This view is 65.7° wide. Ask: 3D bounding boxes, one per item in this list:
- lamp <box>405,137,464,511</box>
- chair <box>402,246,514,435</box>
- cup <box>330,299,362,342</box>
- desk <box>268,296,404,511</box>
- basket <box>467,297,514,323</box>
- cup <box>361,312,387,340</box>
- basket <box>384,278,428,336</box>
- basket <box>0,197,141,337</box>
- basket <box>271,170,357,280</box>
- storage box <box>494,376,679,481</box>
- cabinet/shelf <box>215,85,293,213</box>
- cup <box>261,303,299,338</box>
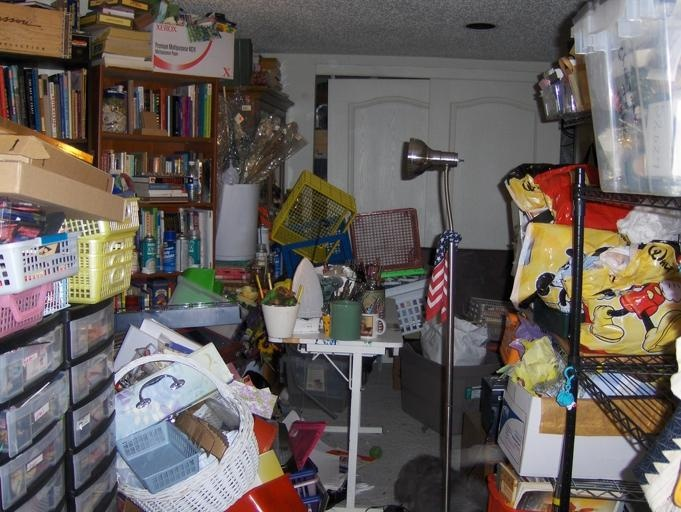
[{"bbox_3d":[0.490,0.278,2.758,0.272,1.750,1.240,-1,8,10],"label":"lamp"},{"bbox_3d":[0.772,0.468,3.743,0.827,1.333,0.408,7,-7,3],"label":"chair"},{"bbox_3d":[0.021,0.289,2.418,0.152,0.178,0.155,1,8,0],"label":"cup"},{"bbox_3d":[0.077,0.700,2.969,0.771,0.898,1.304,1,9,19],"label":"desk"},{"bbox_3d":[1.089,0.404,3.855,0.309,0.126,0.317,5,8,32],"label":"basket"},{"bbox_3d":[0.157,0.335,2.421,0.124,0.094,0.083,2,1,7],"label":"cup"},{"bbox_3d":[0.450,0.348,3.592,0.360,0.409,0.252,-3,-1,7],"label":"basket"},{"bbox_3d":[-0.691,0.044,1.385,0.181,0.145,0.293,4,13,20],"label":"basket"},{"bbox_3d":[-0.188,-0.255,3.810,0.607,0.709,0.257,-7,9,-30],"label":"basket"},{"bbox_3d":[0.946,0.701,2.088,0.427,0.281,0.433,2,13,-2],"label":"storage box"},{"bbox_3d":[-0.659,-0.791,3.863,0.410,0.994,0.711,6,25,8],"label":"cabinet/shelf"},{"bbox_3d":[-0.272,0.291,2.409,0.147,0.124,0.147,1,8,0],"label":"cup"}]
